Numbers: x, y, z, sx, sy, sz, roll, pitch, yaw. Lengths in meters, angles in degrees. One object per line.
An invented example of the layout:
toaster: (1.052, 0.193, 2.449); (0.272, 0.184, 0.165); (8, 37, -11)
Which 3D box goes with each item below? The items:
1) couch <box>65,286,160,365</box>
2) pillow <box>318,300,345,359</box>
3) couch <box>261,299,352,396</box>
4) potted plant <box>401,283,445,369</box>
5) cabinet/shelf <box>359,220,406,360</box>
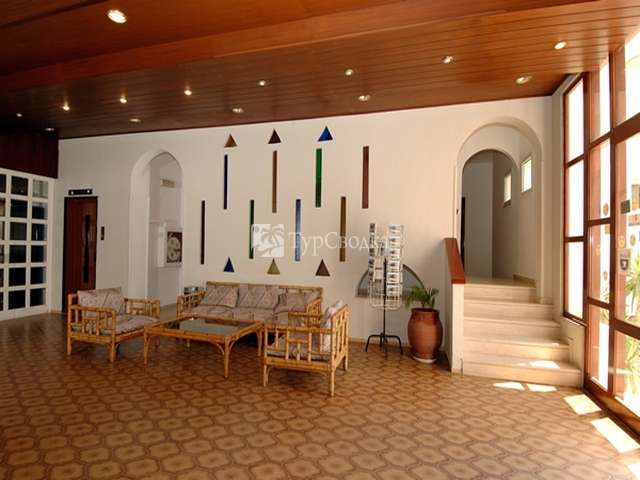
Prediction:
couch: (-3.428, 1.319, 7.692); (0.949, 0.967, 1.301); (3, 0, 16)
pillow: (0.167, 1.280, 6.415); (0.310, 0.793, 0.671); (12, 19, 10)
couch: (-0.191, 1.486, 6.766); (1.346, 1.036, 1.408); (0, 2, -7)
potted plant: (1.702, 1.344, 7.555); (0.581, 1.201, 0.882); (3, 10, 13)
cabinet/shelf: (1.084, 0.826, 7.573); (0.643, 2.194, 0.916); (2, 10, 7)
